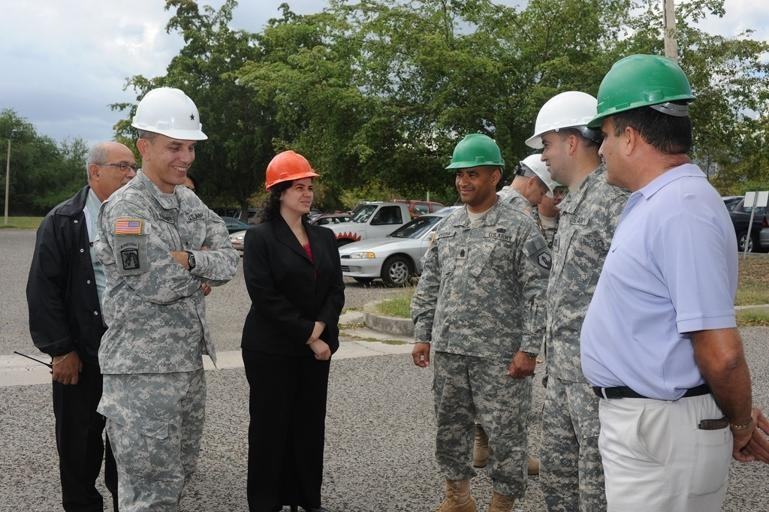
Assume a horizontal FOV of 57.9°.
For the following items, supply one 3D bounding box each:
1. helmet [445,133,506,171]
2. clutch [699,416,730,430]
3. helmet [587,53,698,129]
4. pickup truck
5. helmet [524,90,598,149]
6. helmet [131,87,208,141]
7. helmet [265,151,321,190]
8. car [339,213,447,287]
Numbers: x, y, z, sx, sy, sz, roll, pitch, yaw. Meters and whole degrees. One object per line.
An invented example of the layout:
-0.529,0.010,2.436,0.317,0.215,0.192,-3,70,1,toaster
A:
0.680,-0.741,5.108,0.373,0.194,0.300,0,2,-39,helmet
1.582,0.809,3.359,0.150,0.050,0.036,-2,11,-13,clutch
1.310,-0.837,3.593,0.351,0.251,0.442,-8,14,-39,helmet
-0.310,-0.747,19.257,3.267,1.472,1.567,-3,7,-27,pickup truck
1.157,-0.896,4.491,0.348,0.271,0.437,13,-11,-41,helmet
-1.442,-0.930,4.617,0.493,0.276,0.396,11,8,27,helmet
-0.679,-0.612,5.004,0.335,0.180,0.283,-15,-4,36,helmet
-0.058,-0.085,14.516,2.630,0.922,1.178,-3,3,-28,car
